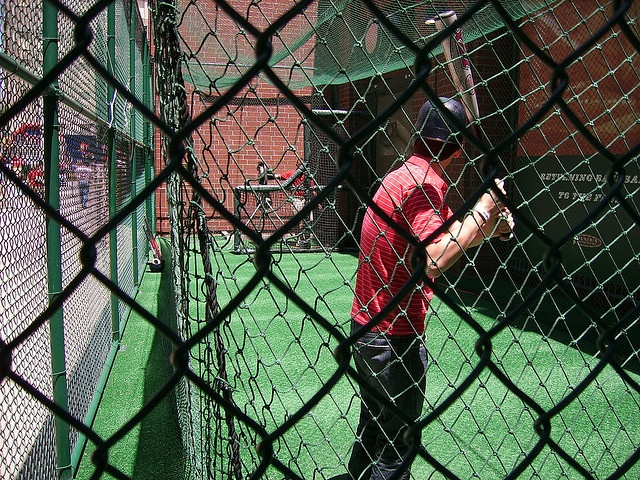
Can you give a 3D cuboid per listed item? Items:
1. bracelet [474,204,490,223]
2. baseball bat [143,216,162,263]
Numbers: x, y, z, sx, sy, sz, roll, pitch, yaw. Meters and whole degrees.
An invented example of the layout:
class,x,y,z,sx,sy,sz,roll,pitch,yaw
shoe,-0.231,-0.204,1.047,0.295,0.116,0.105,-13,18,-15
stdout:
class,x,y,z,sx,sy,sz,roll,pitch,yaw
bracelet,0.749,-0.124,2.922,0.068,0.076,0.028,14,-46,-46
baseball bat,-2.451,0.001,9.277,0.103,0.191,0.737,3,-56,21
